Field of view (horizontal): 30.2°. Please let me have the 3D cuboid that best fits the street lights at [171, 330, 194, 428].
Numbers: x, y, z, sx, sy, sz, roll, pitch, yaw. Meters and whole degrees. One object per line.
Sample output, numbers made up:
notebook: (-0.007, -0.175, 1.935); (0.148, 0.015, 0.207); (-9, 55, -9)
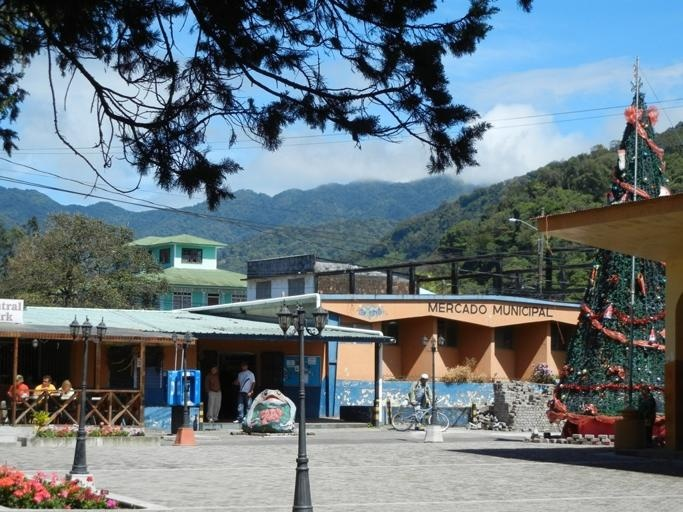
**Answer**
street lights: (-4.714, 3.617, 38.443); (0.606, 3.157, 0.775); (-4, -4, 43)
